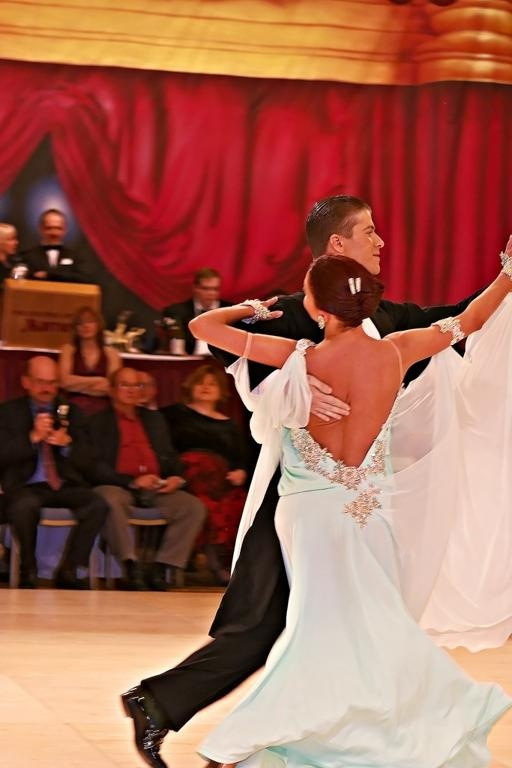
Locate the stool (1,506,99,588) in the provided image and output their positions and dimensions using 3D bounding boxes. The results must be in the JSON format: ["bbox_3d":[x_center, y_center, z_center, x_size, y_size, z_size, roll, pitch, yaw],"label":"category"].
[{"bbox_3d":[-1.163,0.946,4.225,0.540,0.494,0.481,2,-7,-7],"label":"stool"}]

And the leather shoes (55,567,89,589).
[{"bbox_3d":[-1.044,1.102,4.020,0.185,0.118,0.113,3,-5,-14],"label":"leather shoes"}]

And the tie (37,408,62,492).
[{"bbox_3d":[-1.215,0.377,4.151,0.090,0.467,0.238,6,-6,-39],"label":"tie"}]
